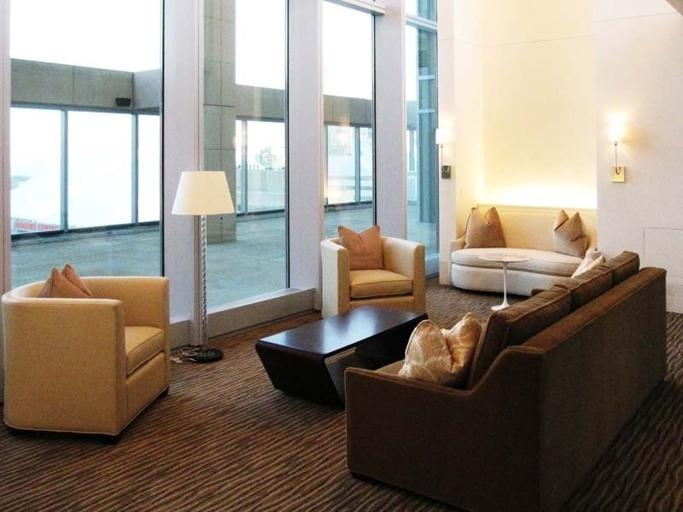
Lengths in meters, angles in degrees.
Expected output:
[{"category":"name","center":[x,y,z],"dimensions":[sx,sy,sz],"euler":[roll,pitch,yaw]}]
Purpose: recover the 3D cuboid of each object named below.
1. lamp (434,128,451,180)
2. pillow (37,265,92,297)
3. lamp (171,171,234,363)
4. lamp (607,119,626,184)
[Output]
[{"category":"lamp","center":[1.503,-1.529,7.811],"dimensions":[0.182,0.757,0.370],"euler":[-5,12,-18]},{"category":"pillow","center":[-2.008,0.184,3.741],"dimensions":[0.074,0.268,0.230],"euler":[-17,-11,35]},{"category":"lamp","center":[-1.346,0.067,4.996],"dimensions":[0.623,1.744,0.681],"euler":[-4,12,-16]},{"category":"lamp","center":[3.447,-1.330,6.488],"dimensions":[0.228,0.834,0.143],"euler":[5,13,26]}]
